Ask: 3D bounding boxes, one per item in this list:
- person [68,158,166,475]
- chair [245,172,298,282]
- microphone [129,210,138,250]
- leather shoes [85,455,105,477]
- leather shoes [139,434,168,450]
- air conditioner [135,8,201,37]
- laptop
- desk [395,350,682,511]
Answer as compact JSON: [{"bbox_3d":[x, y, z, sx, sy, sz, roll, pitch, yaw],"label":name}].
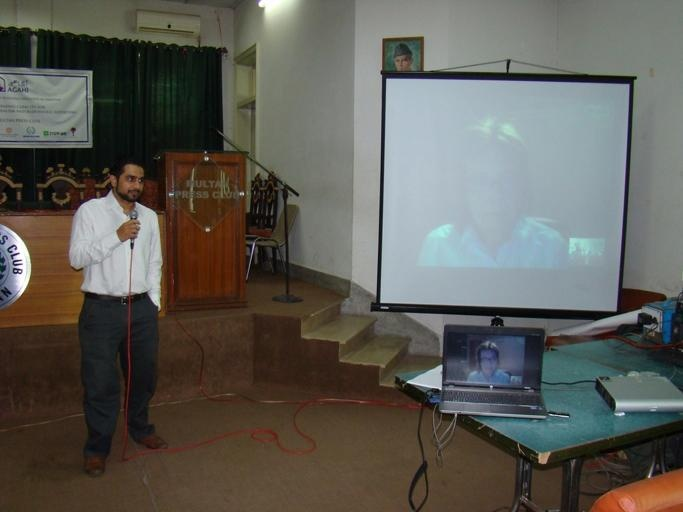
[{"bbox_3d":[-1.478,0.393,3.665,0.573,2.029,0.462,-4,12,-25],"label":"person"},{"bbox_3d":[-0.951,-0.381,7.055,0.599,1.292,1.490,-2,13,-15],"label":"chair"},{"bbox_3d":[-1.345,-0.167,3.543,0.055,0.252,0.206,-3,13,-19],"label":"microphone"},{"bbox_3d":[-1.611,1.371,3.588,0.109,0.122,0.117,0,-2,6],"label":"leather shoes"},{"bbox_3d":[-1.330,1.325,3.906,0.191,0.090,0.099,5,6,3],"label":"leather shoes"},{"bbox_3d":[-2.478,-3.360,7.836,0.860,0.285,0.124,-4,12,-22],"label":"air conditioner"},{"bbox_3d":[0.747,0.573,2.717,0.510,0.383,0.406,2,8,7],"label":"laptop"},{"bbox_3d":[1.130,0.783,2.770,0.963,0.683,1.019,-2,6,-16],"label":"desk"}]
